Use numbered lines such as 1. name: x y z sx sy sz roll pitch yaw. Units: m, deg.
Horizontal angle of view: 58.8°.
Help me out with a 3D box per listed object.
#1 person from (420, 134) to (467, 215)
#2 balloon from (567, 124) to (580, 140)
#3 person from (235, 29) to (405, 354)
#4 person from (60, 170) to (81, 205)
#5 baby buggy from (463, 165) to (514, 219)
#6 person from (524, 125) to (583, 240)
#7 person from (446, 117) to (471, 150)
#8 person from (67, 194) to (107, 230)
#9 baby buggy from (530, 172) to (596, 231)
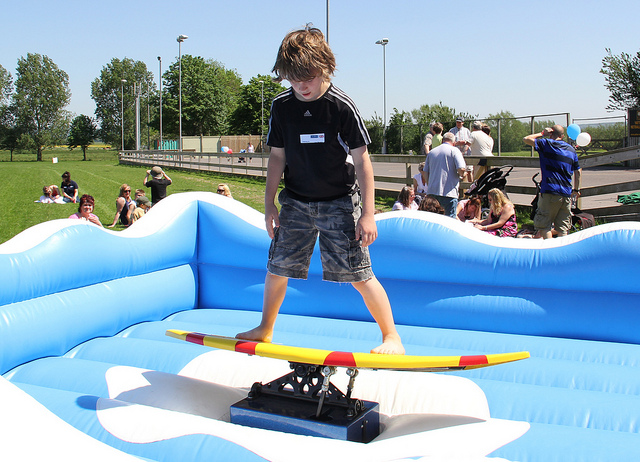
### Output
1. person: 1.739 -0.776 8.061 0.532 1.370 0.501 11 34 23
2. balloon: 4.413 -1.752 9.939 0.188 0.243 0.541 4 9 23
3. person: -0.006 -0.264 3.804 1.020 2.116 0.408 2 7 13
4. person: -6.885 -1.205 15.562 0.459 0.904 0.641 -17 24 -35
5. baby buggy: 2.732 -0.794 9.156 0.612 1.048 0.656 -8 12 -29
6. person: 3.232 -0.705 7.906 0.655 1.549 1.364 4 8 22
7. person: 3.172 -2.067 13.076 0.517 1.143 0.389 2 -5 -4
8. person: -4.115 -0.361 10.014 0.690 0.297 0.698 1 13 -32
9. baby buggy: 3.593 -0.302 8.391 0.743 1.057 0.722 3 11 19
